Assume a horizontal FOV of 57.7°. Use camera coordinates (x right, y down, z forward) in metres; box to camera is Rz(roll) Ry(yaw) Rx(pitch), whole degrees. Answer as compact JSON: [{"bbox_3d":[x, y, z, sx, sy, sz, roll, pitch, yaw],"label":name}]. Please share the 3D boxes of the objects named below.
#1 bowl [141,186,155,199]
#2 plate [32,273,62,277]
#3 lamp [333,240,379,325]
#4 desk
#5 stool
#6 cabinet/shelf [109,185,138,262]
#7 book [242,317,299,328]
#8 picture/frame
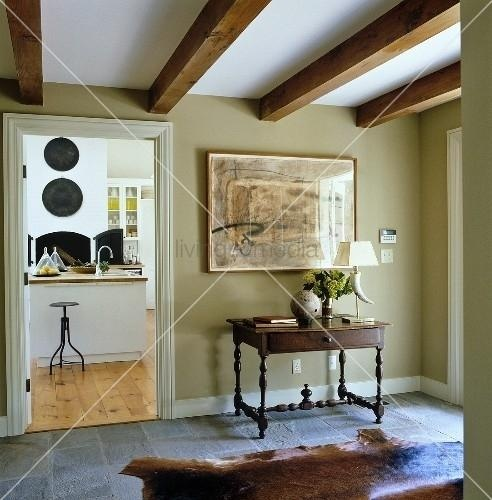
[{"bbox_3d":[-2.038,-1.179,9.328,0.284,0.221,0.263,0,-1,0],"label":"bowl"},{"bbox_3d":[-2.364,0.301,5.317,0.292,0.035,0.285,0,0,-22],"label":"plate"},{"bbox_3d":[0.863,0.248,3.571,0.318,0.643,0.644,-1,0,12],"label":"lamp"},{"bbox_3d":[0.448,0.888,3.397,1.027,0.784,0.650,0,0,-24],"label":"desk"},{"bbox_3d":[-1.905,0.958,4.808,0.495,0.696,0.481,1,-4,-34],"label":"stool"},{"bbox_3d":[-2.522,-0.517,9.342,0.801,1.773,0.297,2,11,3],"label":"cabinet/shelf"},{"bbox_3d":[0.172,0.516,3.220,0.390,0.048,0.278,0,0,0],"label":"book"},{"bbox_3d":[0.276,-0.301,3.684,1.403,0.939,0.058,4,7,36],"label":"picture/frame"}]
